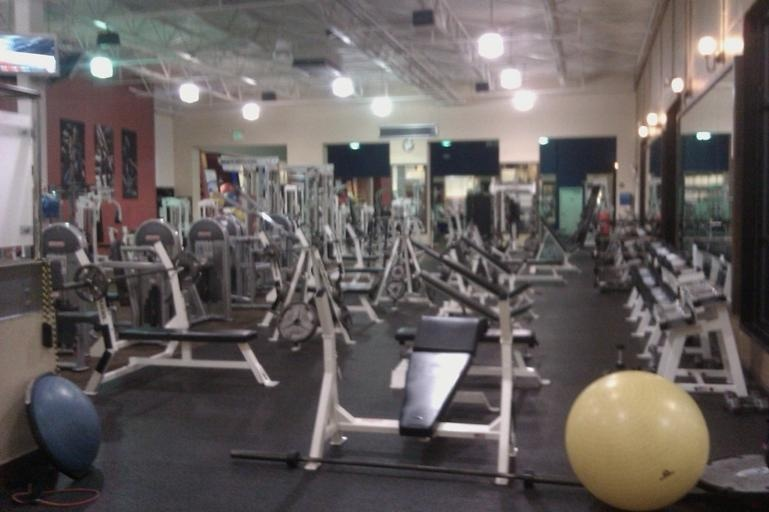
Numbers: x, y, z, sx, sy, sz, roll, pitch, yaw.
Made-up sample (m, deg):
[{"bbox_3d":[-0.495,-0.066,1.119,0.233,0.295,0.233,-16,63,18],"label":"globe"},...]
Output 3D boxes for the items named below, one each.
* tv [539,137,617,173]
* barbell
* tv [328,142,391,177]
[{"bbox_3d":[5.567,-2.924,17.573,2.312,1.021,0.825,-4,7,-28],"label":"tv"},{"bbox_3d":[-2.542,0.166,6.287,1.613,0.563,0.680,1,6,-6],"label":"barbell"},{"bbox_3d":[-0.760,-2.812,18.013,1.864,1.026,0.415,2,7,21],"label":"tv"}]
